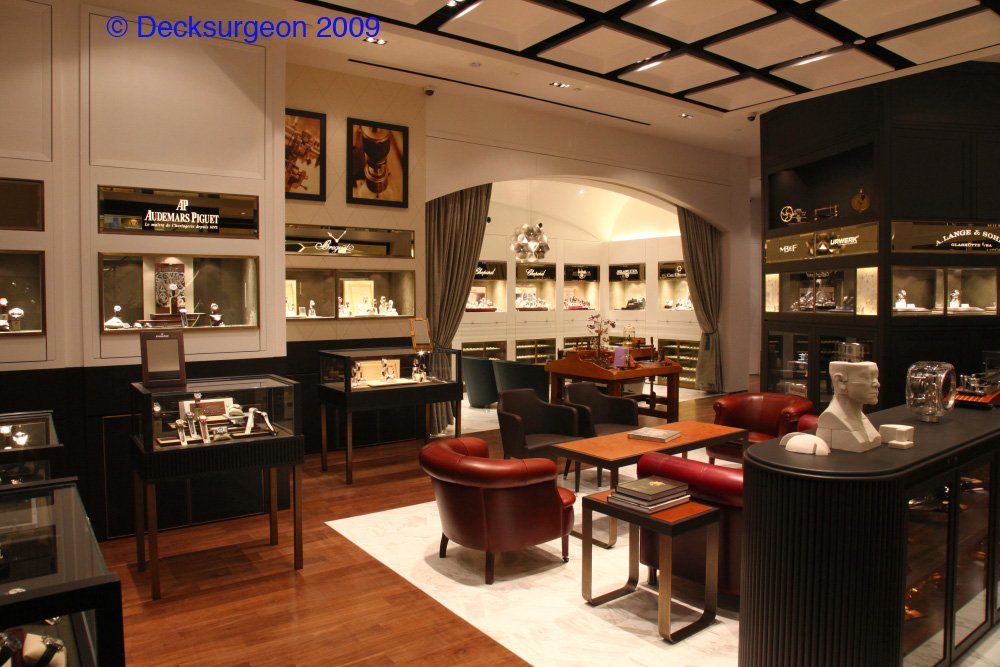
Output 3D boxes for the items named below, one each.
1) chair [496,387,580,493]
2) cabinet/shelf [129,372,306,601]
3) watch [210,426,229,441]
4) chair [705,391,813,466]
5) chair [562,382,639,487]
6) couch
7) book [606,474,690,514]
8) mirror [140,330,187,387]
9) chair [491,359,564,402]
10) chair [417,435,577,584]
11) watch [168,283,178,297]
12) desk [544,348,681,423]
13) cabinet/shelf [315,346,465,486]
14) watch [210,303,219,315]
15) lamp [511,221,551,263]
[{"bbox_3d":[0.412,0.997,7.503,0.741,0.946,0.787,0,-1,-31],"label":"chair"},{"bbox_3d":[-2.297,1.206,5.866,1.204,1.521,0.906,-2,0,-32],"label":"cabinet/shelf"},{"bbox_3d":[-2.224,0.807,5.664,0.119,0.111,0.115,1,38,-10],"label":"watch"},{"bbox_3d":[2.785,1.091,7.632,0.898,0.822,0.976,7,2,-33],"label":"chair"},{"bbox_3d":[1.099,1.120,7.826,0.823,1.012,0.696,-1,4,-32],"label":"chair"},{"bbox_3d":[1.779,1.319,5.596,1.100,0.934,1.181,-6,7,-38],"label":"couch"},{"bbox_3d":[1.132,1.152,5.123,0.264,0.103,0.360,1,2,45],"label":"book"},{"bbox_3d":[-2.813,0.220,5.983,0.353,0.455,0.066,-2,3,-5],"label":"mirror"},{"bbox_3d":[0.334,0.625,10.095,0.580,0.622,0.609,-2,2,-27],"label":"chair"},{"bbox_3d":[-0.023,1.268,5.888,1.140,0.961,1.158,-4,6,-40],"label":"chair"},{"bbox_3d":[-3.033,-0.409,6.619,0.083,0.110,0.028,-4,11,-18],"label":"watch"},{"bbox_3d":[1.569,0.617,9.979,1.320,1.014,1.289,-2,2,-40],"label":"desk"},{"bbox_3d":[-1.258,0.860,8.438,1.540,1.297,0.641,-2,3,-39],"label":"cabinet/shelf"},{"bbox_3d":[-2.734,-0.228,6.825,0.085,0.093,0.088,-1,8,-27],"label":"watch"},{"bbox_3d":[0.448,-1.487,11.409,0.651,0.662,0.720,1,-3,19],"label":"lamp"}]
